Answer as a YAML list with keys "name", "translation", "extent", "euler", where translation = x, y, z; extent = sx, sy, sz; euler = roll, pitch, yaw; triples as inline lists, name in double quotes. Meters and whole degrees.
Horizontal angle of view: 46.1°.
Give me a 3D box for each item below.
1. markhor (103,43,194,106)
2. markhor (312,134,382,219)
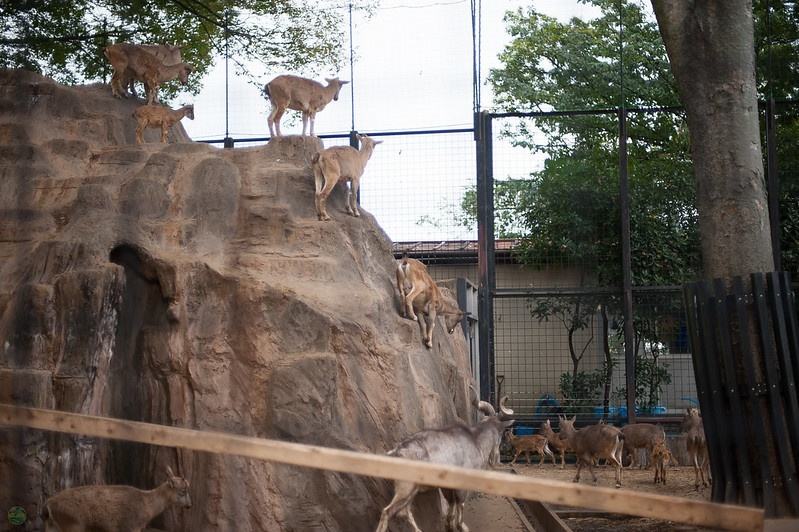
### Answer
- name: "markhor"
  translation: [-4.337, -3.265, 16.158]
  extent: [1.557, 0.983, 0.466]
  euler: [11, 16, -32]
- name: "markhor"
  translation: [-0.771, -1.397, 14.614]
  extent: [0.367, 1.308, 1.473]
  euler: [6, 9, 38]
